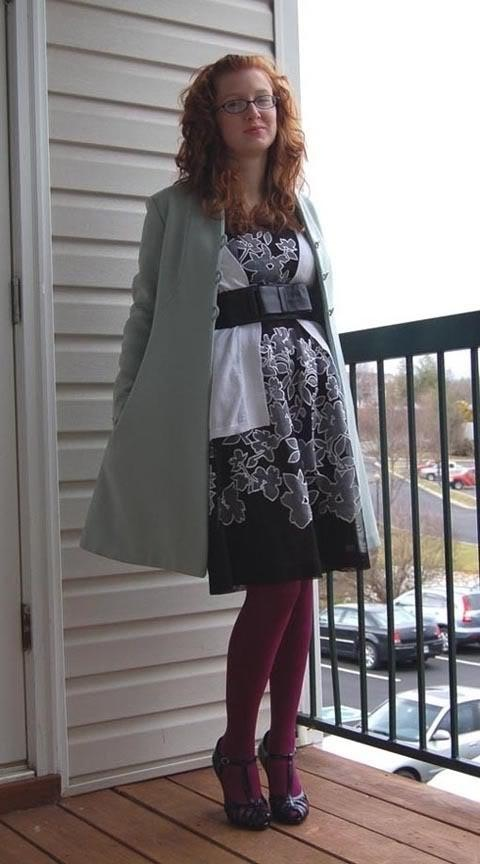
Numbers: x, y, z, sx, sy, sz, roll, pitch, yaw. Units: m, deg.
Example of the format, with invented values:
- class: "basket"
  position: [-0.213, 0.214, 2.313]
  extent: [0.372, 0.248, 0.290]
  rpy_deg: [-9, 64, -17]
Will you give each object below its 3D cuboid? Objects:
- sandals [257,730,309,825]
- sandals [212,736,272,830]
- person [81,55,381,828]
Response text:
- class: "sandals"
  position: [0.076, 0.642, 1.260]
  extent: [0.052, 0.075, 0.171]
  rpy_deg: [3, 31, -16]
- class: "sandals"
  position: [-0.006, 0.649, 1.196]
  extent: [0.058, 0.080, 0.177]
  rpy_deg: [-1, 23, -18]
- class: "person"
  position: [0.015, 0.028, 1.295]
  extent: [0.532, 1.517, 0.418]
  rpy_deg: [-3, 3, -23]
